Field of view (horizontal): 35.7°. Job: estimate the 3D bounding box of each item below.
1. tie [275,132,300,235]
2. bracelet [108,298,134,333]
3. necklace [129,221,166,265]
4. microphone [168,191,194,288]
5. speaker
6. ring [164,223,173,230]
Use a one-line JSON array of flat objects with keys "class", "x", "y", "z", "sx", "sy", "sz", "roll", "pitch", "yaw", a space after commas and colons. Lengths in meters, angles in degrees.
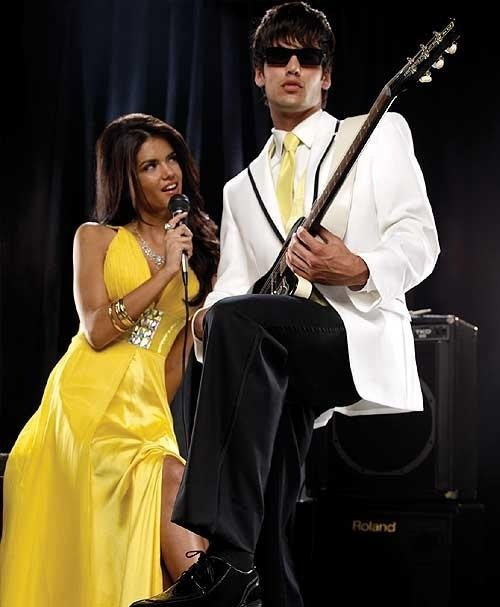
[{"class": "tie", "x": 0.083, "y": -0.290, "z": 1.880, "sx": 0.053, "sy": 0.262, "sz": 0.018, "roll": 3, "pitch": 10, "yaw": 43}, {"class": "bracelet", "x": -0.402, "y": 0.041, "z": 2.394, "sx": 0.057, "sy": 0.100, "sz": 0.078, "roll": -15, "pitch": 13, "yaw": -7}, {"class": "necklace", "x": -0.351, "y": -0.185, "z": 2.657, "sx": 0.033, "sy": 0.234, "sz": 0.067, "roll": -37, "pitch": -21, "yaw": 27}, {"class": "microphone", "x": -0.211, "y": -0.197, "z": 2.421, "sx": 0.065, "sy": 0.356, "sz": 0.067, "roll": -10, "pitch": -25, "yaw": 7}, {"class": "speaker", "x": 0.451, "y": 0.236, "z": 2.675, "sx": 0.511, "sy": 0.738, "sz": 0.473, "roll": 2, "pitch": 30, "yaw": 15}, {"class": "ring", "x": -0.266, "y": -0.253, "z": 2.529, "sx": 0.020, "sy": 0.009, "sz": 0.030, "roll": -4, "pitch": 14, "yaw": 8}]
